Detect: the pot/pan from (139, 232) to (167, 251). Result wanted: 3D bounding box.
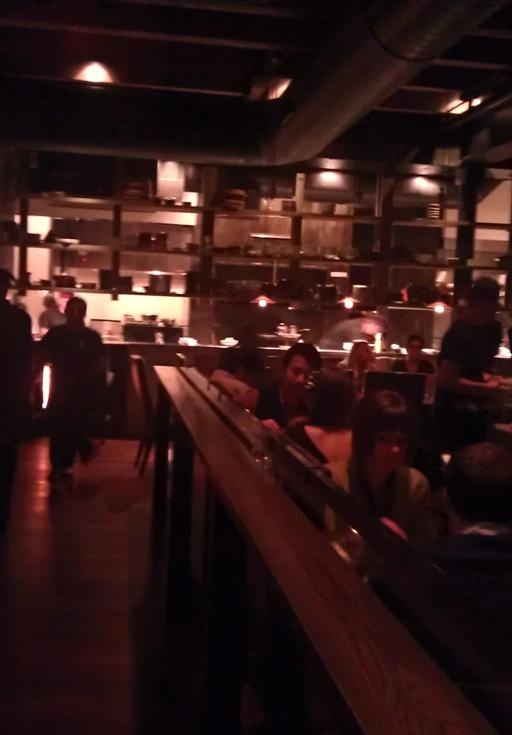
[{"bbox_3d":[-0.831,-1.007,4.941,0.247,0.141,0.168,0,1,-9],"label":"pot/pan"}]

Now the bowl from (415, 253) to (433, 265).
[{"bbox_3d":[1.363,-0.878,4.987,0.128,0.111,0.264,3,4,21],"label":"bowl"}]

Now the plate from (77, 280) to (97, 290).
[{"bbox_3d":[-1.386,-0.660,5.057,0.173,0.075,0.153,0,4,-22],"label":"plate"}]

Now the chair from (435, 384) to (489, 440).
[{"bbox_3d":[1.062,0.227,3.236,0.273,0.332,0.300,0,-4,7],"label":"chair"}]

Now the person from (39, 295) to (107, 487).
[{"bbox_3d":[-1.364,0.122,4.559,0.427,1.254,0.989,1,3,-14],"label":"person"}]

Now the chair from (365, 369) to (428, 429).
[{"bbox_3d":[0.568,0.136,2.655,0.324,0.238,0.220,4,-4,-17],"label":"chair"}]

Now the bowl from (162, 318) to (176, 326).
[{"bbox_3d":[-0.836,-0.437,5.891,0.132,0.064,0.265,1,4,-8],"label":"bowl"}]
